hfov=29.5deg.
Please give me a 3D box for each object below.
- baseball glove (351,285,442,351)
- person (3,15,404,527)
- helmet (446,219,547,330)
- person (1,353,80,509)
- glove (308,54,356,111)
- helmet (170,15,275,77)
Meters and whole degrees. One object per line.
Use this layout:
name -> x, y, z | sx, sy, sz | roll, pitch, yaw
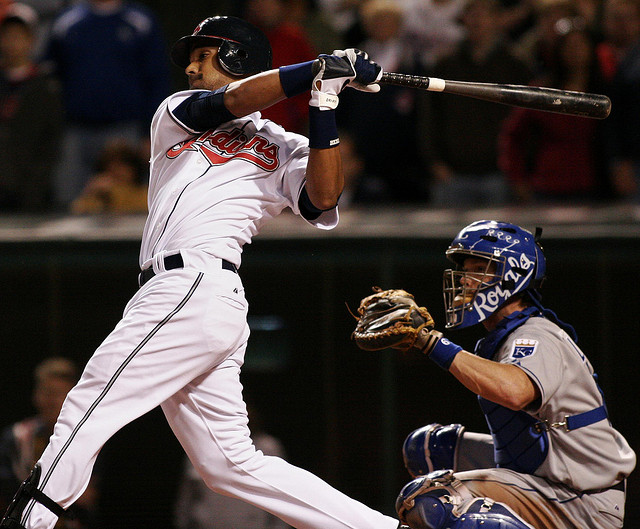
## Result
baseball glove -> 0.313, 0.242, 5.065 | 0.356, 0.223, 0.161 | 12, -3, 22
person -> -0.487, 0.140, 5.122 | 1.411, 1.898, 0.932 | -3, 16, 2
helmet -> 0.802, 0.055, 5.364 | 0.552, 0.425, 0.388 | 6, -9, -19
person -> -1.460, 0.914, 6.695 | 0.270, 0.735, 0.580 | 27, -8, 2
glove -> 0.036, -0.744, 5.092 | 0.211, 0.223, 0.114 | 20, -9, -35
helmet -> -0.416, -0.942, 5.391 | 0.473, 0.216, 0.276 | 6, -26, -11
